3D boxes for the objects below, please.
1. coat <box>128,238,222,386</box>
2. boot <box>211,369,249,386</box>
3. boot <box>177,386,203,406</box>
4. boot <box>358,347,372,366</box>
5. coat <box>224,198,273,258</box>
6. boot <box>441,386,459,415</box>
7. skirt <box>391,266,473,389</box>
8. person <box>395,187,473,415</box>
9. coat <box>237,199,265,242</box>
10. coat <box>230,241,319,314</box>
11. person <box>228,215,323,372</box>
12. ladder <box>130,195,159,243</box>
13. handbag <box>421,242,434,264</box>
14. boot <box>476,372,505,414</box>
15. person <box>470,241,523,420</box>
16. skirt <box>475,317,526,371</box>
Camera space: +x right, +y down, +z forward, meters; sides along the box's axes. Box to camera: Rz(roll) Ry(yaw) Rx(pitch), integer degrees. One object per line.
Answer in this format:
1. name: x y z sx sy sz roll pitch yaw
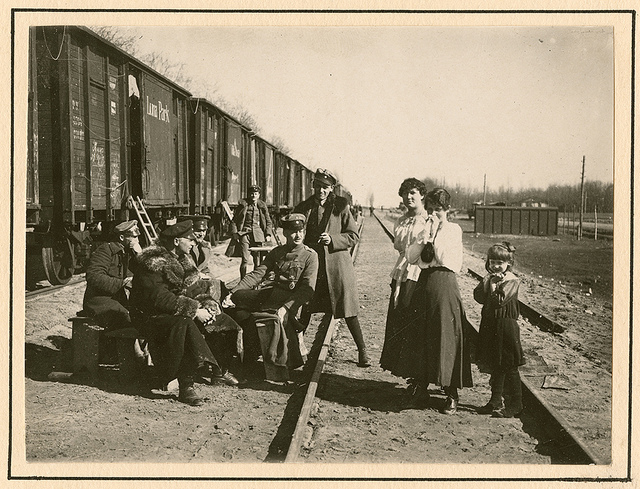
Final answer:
1. coat: -1.703 0.717 7.046 1.027 1.962 0.773 12 18 27
2. boot: -1.161 1.688 7.334 0.498 0.254 0.183 1 -1 1
3. boot: -1.473 1.789 6.723 0.354 0.194 0.134 1 -3 13
4. boot: 0.615 1.534 7.786 0.164 0.254 0.094 -4 14 -18
5. coat: -1.572 -0.442 12.391 0.982 1.557 0.342 3 4 2
6. boot: 1.474 1.734 6.400 0.138 0.301 0.284 -3 14 36
7. skirt: 1.260 0.897 6.279 0.878 1.307 0.482 7 15 23
8. person: 1.303 0.487 6.257 0.871 2.105 0.604 10 16 32
9. coat: -1.431 -0.475 12.132 0.457 0.815 0.490 4 14 10
10. coat: -0.524 0.420 7.338 1.131 0.945 0.944 4 -1 40
11. person: -0.476 0.591 7.309 0.982 1.955 0.786 12 17 38
12. ladder: -3.654 -0.567 11.975 0.517 0.888 1.329 -6 17 -26
13. handbag: 1.163 0.094 6.260 0.132 0.208 0.045 5 2 34
14. boot: 1.894 1.642 6.355 0.275 0.620 0.234 6 15 21
15. person: 1.938 0.999 6.169 0.454 1.927 0.501 -5 15 -23
16. skirt: 1.923 0.982 6.267 0.616 0.683 0.477 2 7 29
